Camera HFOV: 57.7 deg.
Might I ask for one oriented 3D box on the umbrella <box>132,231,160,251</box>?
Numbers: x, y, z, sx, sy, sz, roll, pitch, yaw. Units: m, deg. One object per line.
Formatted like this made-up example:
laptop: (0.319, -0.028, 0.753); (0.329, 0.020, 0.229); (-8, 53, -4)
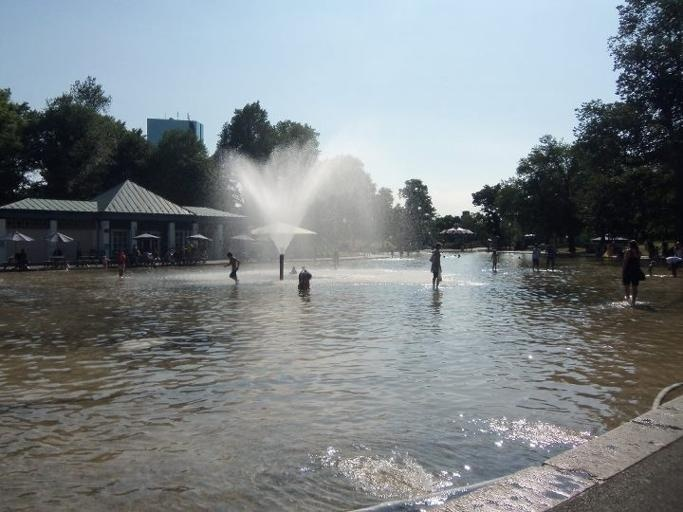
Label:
umbrella: (-15.721, -1.126, 50.529); (1.747, 0.945, 1.758); (-1, -4, 30)

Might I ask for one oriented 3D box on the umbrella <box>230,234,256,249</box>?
umbrella: (-8.758, -1.204, 56.207); (1.556, 0.898, 1.689); (1, 5, 26)
